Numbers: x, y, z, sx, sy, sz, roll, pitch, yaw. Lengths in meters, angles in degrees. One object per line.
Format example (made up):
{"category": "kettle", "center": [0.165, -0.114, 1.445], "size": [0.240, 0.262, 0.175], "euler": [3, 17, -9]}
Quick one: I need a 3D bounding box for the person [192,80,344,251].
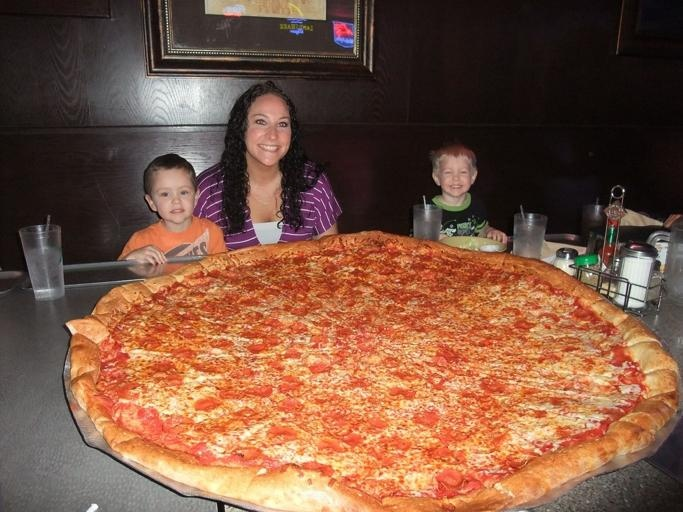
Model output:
{"category": "person", "center": [-0.539, -0.603, 3.233], "size": [1.306, 1.059, 0.684], "euler": [-9, 51, -19]}

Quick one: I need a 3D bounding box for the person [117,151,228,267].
{"category": "person", "center": [-1.024, -0.290, 2.935], "size": [0.744, 0.625, 0.485], "euler": [-12, 24, -32]}
